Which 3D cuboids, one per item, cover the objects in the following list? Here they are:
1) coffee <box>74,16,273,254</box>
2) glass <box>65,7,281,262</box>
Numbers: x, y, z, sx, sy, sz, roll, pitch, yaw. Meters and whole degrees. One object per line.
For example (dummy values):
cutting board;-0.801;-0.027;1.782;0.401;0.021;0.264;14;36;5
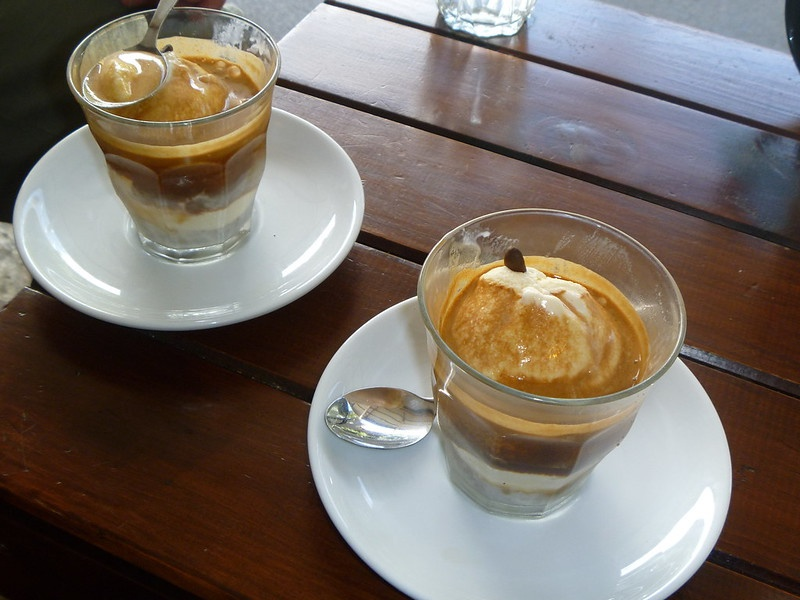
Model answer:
coffee;-0.397;-0.274;1.197;0.278;0.259;0.295;41;57;21
glass;-0.396;-0.276;1.207;0.294;0.311;0.297;38;56;20
